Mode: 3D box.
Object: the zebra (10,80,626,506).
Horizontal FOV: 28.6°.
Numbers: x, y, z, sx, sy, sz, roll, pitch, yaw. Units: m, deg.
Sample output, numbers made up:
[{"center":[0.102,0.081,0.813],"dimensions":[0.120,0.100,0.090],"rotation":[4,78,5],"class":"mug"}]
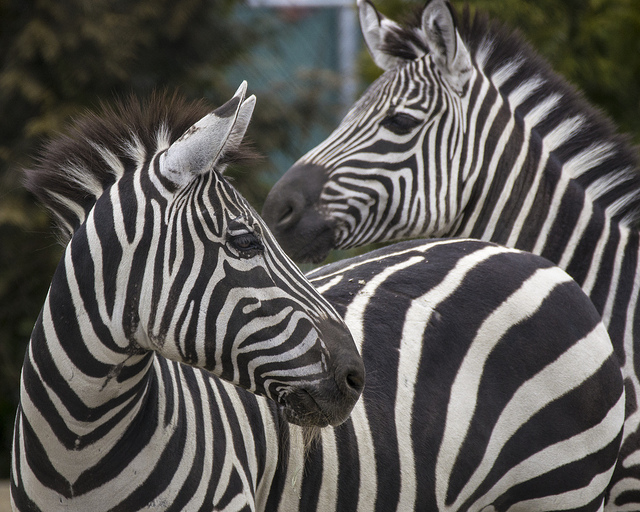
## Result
[{"center":[-0.039,0.465,5.461],"dimensions":[2.415,1.520,1.582],"rotation":[3,68,14],"class":"zebra"}]
